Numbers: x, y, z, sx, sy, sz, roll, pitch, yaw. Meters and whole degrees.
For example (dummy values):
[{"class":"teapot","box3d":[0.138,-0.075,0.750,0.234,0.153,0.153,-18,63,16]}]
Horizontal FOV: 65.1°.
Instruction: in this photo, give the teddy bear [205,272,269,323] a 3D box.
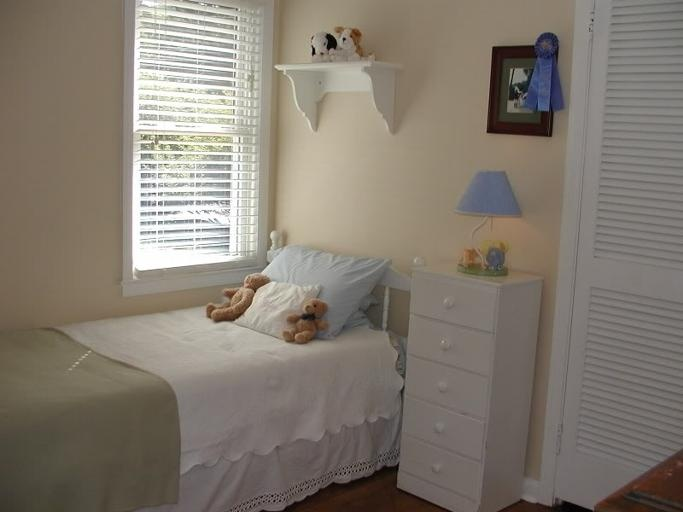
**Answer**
[{"class":"teddy bear","box3d":[-0.625,0.257,3.281,0.312,0.379,0.275,18,1,-7]}]

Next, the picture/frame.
[{"class":"picture/frame","box3d":[0.908,-0.821,2.669,0.424,0.588,0.039,5,6,43]}]

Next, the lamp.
[{"class":"lamp","box3d":[0.744,-0.169,2.683,0.302,0.496,0.352,4,13,21]}]

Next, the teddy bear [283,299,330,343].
[{"class":"teddy bear","box3d":[-0.194,0.359,2.926,0.237,0.274,0.225,11,-4,26]}]

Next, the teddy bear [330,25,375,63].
[{"class":"teddy bear","box3d":[0.068,-1.256,3.195,0.167,0.210,0.257,11,32,26]}]
